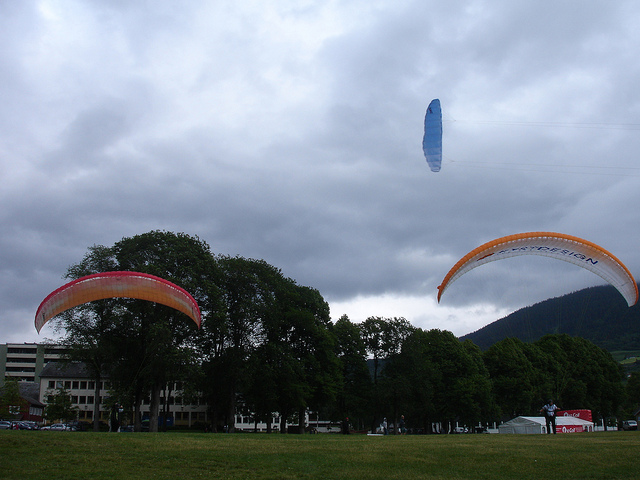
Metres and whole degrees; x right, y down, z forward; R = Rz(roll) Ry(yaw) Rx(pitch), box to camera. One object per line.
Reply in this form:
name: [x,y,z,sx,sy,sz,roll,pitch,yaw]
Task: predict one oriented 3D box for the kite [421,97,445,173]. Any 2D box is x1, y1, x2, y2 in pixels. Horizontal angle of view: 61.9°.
kite: [6.852,-6.084,32.260,1.145,4.657,1.484,-4,-15,19]
